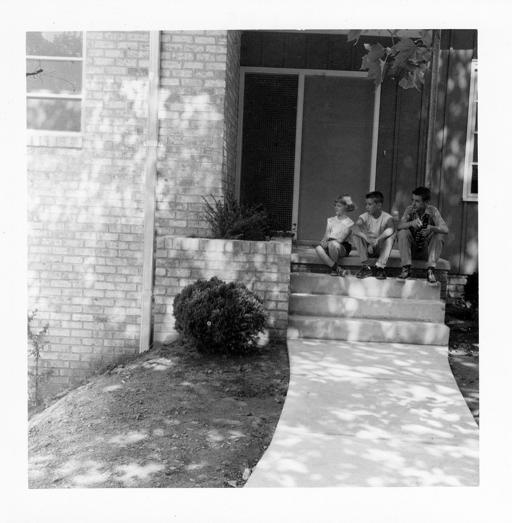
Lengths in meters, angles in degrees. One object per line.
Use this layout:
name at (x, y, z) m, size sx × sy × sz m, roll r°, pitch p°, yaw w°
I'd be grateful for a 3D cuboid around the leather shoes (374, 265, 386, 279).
leather shoes at (1.423, 0.119, 6.949) m, size 0.132 × 0.163 × 0.137 m, roll -2°, pitch 14°, yaw 12°

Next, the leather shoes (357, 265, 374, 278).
leather shoes at (1.268, 0.131, 7.025) m, size 0.089 × 0.130 × 0.264 m, roll -1°, pitch 1°, yaw 28°

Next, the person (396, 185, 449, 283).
person at (1.916, -0.311, 6.967) m, size 0.539 × 1.059 × 0.603 m, roll -1°, pitch 14°, yaw 14°

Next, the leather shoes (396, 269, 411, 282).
leather shoes at (1.700, 0.144, 6.920) m, size 0.124 × 0.170 × 0.243 m, roll 4°, pitch 17°, yaw 31°

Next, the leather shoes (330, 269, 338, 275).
leather shoes at (0.912, 0.129, 7.041) m, size 0.046 × 0.056 × 0.120 m, roll 0°, pitch -7°, yaw 3°

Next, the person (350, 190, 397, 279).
person at (1.362, -0.316, 7.031) m, size 0.467 × 0.945 × 0.517 m, roll -2°, pitch 14°, yaw 10°
